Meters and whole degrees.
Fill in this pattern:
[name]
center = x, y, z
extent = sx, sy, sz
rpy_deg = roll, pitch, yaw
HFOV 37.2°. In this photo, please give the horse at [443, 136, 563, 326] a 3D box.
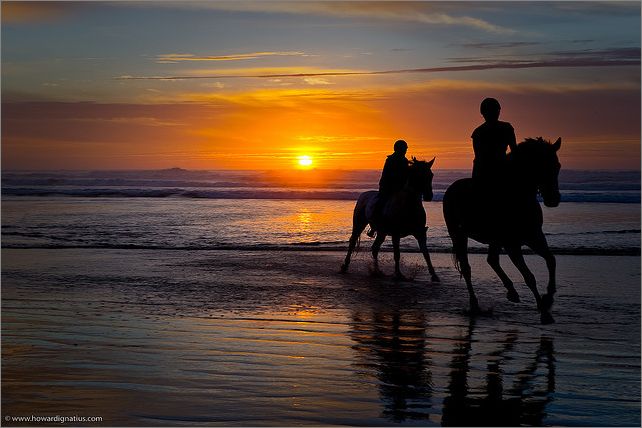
[horse]
center = 4.333, 0.304, 22.241
extent = 1.232, 4.165, 2.991
rpy_deg = 6, 4, -26
